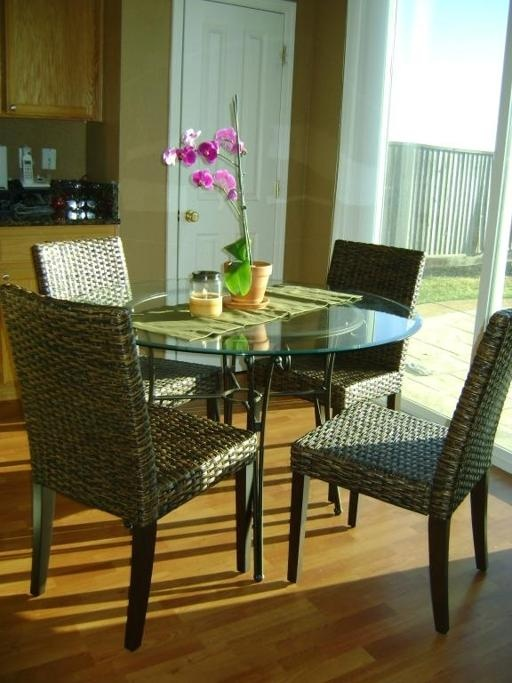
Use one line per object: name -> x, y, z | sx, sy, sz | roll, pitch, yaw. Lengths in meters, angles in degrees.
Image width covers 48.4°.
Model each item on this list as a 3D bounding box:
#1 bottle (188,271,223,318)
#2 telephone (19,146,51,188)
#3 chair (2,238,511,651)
bottle -> -0.145, -0.138, 1.644 | 0.117, 0.129, 0.128 | 12, 15, 42
telephone -> -1.264, -1.008, 3.245 | 0.174, 0.205, 0.238 | -2, 25, -24
chair -> -0.004, 0.192, 1.785 | 1.337, 0.960, 1.384 | 0, 9, -15
